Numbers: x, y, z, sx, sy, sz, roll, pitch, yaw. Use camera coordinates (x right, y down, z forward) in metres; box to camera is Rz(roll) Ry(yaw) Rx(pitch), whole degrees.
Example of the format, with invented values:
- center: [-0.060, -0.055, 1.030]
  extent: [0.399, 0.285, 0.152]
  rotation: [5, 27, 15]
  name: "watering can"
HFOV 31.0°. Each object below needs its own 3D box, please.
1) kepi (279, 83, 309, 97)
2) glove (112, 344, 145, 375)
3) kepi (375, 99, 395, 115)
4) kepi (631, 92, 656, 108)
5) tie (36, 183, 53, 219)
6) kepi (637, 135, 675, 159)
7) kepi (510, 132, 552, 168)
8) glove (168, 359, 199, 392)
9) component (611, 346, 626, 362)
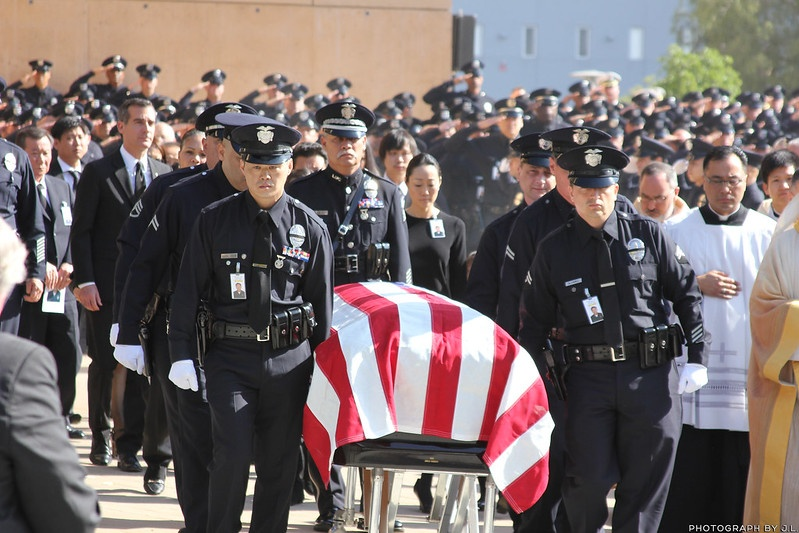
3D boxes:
- center: [-1.587, -2.727, 22.195]
  extent: [0.298, 0.144, 0.364]
  rotation: [1, 2, -10]
  name: "kepi"
- center: [-2.163, 0.731, 11.667]
  extent: [0.227, 0.232, 0.085]
  rotation: [-1, -1, -12]
  name: "glove"
- center: [-0.163, -2.341, 21.204]
  extent: [0.237, 0.088, 0.308]
  rotation: [8, 38, 40]
  name: "kepi"
- center: [3.572, -2.454, 21.230]
  extent: [0.250, 0.117, 0.337]
  rotation: [5, 9, 14]
  name: "kepi"
- center: [-3.338, -0.641, 13.670]
  extent: [0.068, 0.270, 0.171]
  rotation: [-15, -3, 30]
  name: "tie"
- center: [3.043, -1.424, 17.234]
  extent: [0.383, 0.152, 0.305]
  rotation: [10, -4, -7]
  name: "kepi"
- center: [1.186, -1.015, 12.736]
  extent: [0.433, 0.247, 0.471]
  rotation: [4, 2, 7]
  name: "kepi"
- center: [-1.675, 0.875, 11.371]
  extent: [0.199, 0.256, 0.111]
  rotation: [19, 48, 28]
  name: "glove"
- center: [1.731, 0.683, 11.519]
  extent: [0.101, 0.127, 0.044]
  rotation: [-1, -1, 3]
  name: "component"
